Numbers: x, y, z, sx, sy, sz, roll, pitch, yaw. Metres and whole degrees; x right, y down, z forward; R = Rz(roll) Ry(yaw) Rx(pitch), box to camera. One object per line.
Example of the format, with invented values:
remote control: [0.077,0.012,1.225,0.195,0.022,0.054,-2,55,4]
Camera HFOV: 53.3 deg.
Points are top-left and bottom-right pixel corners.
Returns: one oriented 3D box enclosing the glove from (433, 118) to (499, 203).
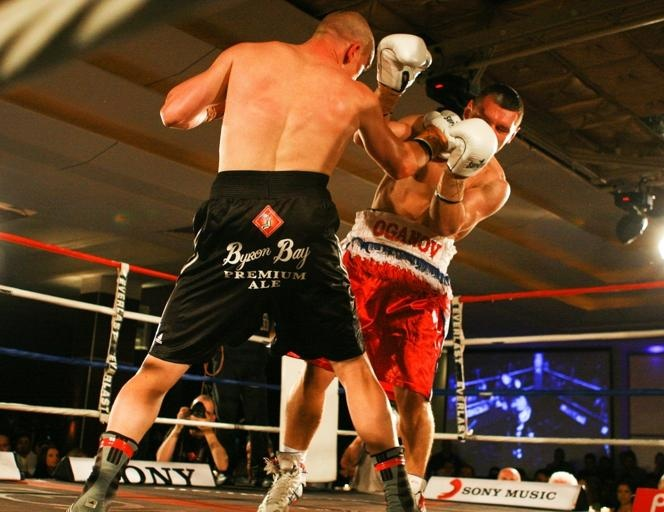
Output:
glove: [0.565,-0.444,2.815,0.232,0.275,0.118,18,30,-49]

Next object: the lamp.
lamp: [3.234,-0.474,7.053,0.437,0.606,0.548,-2,-15,28]

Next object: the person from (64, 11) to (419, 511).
person: [-0.162,-0.061,2.427,1.090,1.938,0.336,9,-16,-12]
